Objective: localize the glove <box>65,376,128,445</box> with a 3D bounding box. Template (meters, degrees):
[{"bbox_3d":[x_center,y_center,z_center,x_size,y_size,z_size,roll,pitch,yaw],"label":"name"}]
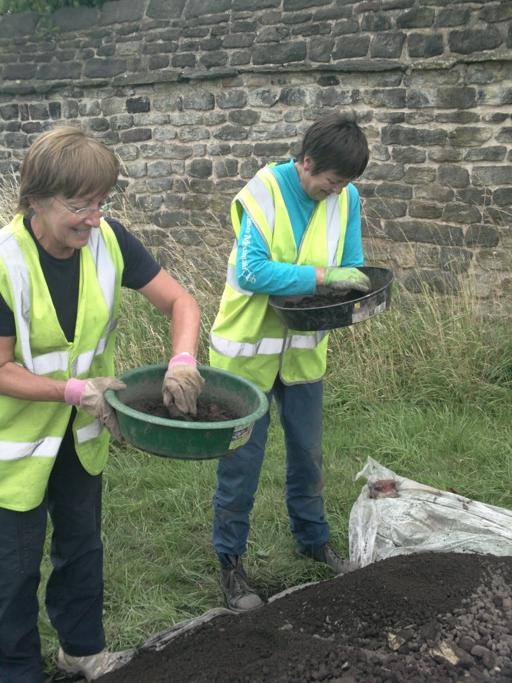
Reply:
[{"bbox_3d":[-0.565,0.228,2.799,0.206,0.199,0.123,4,7,-8],"label":"glove"}]

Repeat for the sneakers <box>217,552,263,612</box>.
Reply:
[{"bbox_3d":[-0.093,1.083,3.683,0.147,0.200,0.355,-14,8,-15],"label":"sneakers"}]

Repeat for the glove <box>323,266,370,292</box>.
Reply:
[{"bbox_3d":[0.384,-0.267,3.436,0.123,0.049,0.153,-2,8,-37],"label":"glove"}]

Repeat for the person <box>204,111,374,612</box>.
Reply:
[{"bbox_3d":[0.171,0.118,3.601,0.664,2.185,0.504,3,8,-27],"label":"person"}]

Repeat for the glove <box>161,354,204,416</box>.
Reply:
[{"bbox_3d":[-0.274,0.151,2.933,0.140,0.203,0.092,10,-32,-27],"label":"glove"}]
